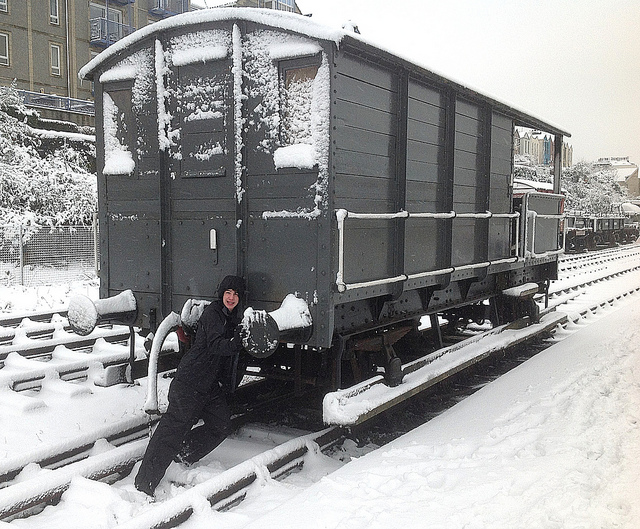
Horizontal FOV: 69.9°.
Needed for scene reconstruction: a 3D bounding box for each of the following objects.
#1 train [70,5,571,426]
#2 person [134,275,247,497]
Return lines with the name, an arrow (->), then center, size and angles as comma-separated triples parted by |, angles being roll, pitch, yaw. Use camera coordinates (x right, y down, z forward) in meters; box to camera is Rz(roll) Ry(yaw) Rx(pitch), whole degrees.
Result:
train -> 0.860, -0.874, 8.065 | 4.457, 4.920, 8.707 | 3, 5, 36
person -> -1.172, 1.003, 4.290 | 0.910, 1.905, 0.938 | 0, 0, -11
